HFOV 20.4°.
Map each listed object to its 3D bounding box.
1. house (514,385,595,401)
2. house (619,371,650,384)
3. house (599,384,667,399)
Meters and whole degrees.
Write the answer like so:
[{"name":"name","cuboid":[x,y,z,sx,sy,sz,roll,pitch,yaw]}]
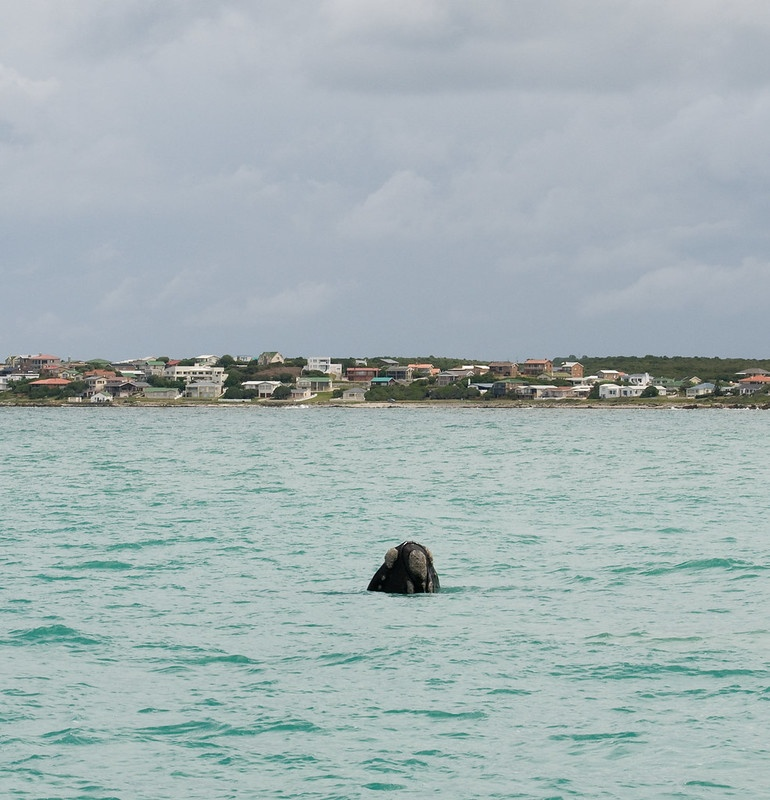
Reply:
[{"name":"house","cuboid":[24.199,-1.085,288.254,11.913,2.095,6.013,1,-3,-38]},{"name":"house","cuboid":[36.633,-3.240,306.230,3.313,1.330,3.005,2,4,18]},{"name":"house","cuboid":[32.888,-1.265,279.516,6.332,2.277,11.117,0,-3,-24]}]
